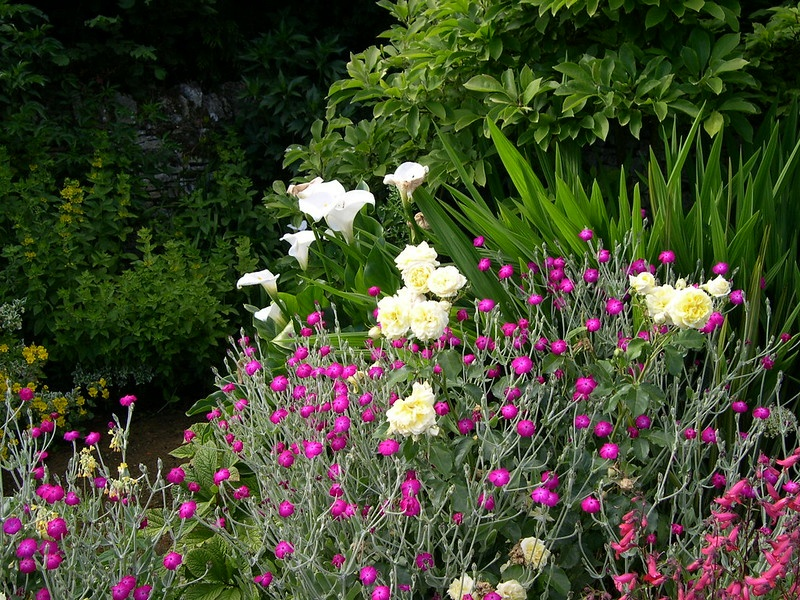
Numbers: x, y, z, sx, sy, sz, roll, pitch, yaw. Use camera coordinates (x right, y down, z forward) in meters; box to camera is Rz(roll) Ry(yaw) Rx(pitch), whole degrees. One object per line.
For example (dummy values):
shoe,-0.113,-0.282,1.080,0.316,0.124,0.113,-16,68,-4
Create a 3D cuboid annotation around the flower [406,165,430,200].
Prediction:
flower,0.080,-0.541,3.737,0.101,0.143,0.088,-13,17,-11
